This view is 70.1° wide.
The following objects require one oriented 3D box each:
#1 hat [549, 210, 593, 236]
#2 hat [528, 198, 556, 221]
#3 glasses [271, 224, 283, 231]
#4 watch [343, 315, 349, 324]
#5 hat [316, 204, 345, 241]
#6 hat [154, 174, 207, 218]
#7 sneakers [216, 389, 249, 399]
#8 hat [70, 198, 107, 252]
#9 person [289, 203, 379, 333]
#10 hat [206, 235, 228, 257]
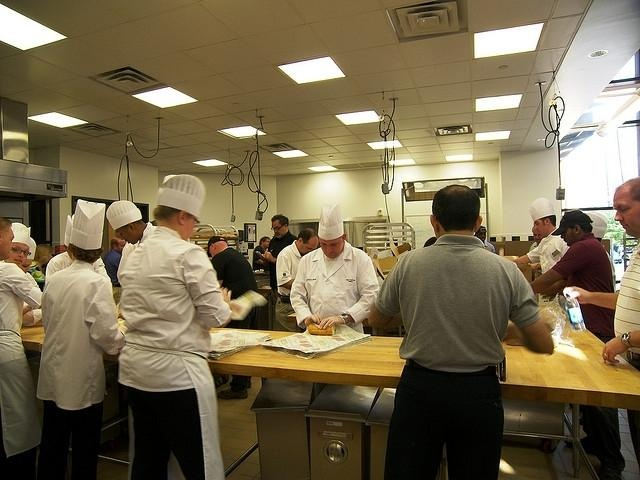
[{"bbox_3d":[2.087,-0.147,3.792,0.174,0.144,0.251,-5,0,-31],"label":"hat"},{"bbox_3d":[2.586,-0.368,5.378,0.234,0.263,0.311,-11,-7,-18],"label":"hat"},{"bbox_3d":[-0.596,-0.183,6.553,0.151,0.050,0.161,-1,-7,18],"label":"glasses"},{"bbox_3d":[0.194,0.594,3.397,0.053,0.054,0.054,-5,-10,-25],"label":"watch"},{"bbox_3d":[0.092,-0.138,3.654,0.192,0.291,0.197,3,2,14],"label":"hat"},{"bbox_3d":[-0.845,-0.257,2.865,0.215,0.239,0.302,15,-7,-5],"label":"hat"},{"bbox_3d":[-0.915,1.633,4.880,0.287,0.128,0.114,4,-10,2],"label":"sneakers"},{"bbox_3d":[-1.569,-0.118,3.148,0.193,0.298,0.209,4,23,-36],"label":"hat"},{"bbox_3d":[0.091,0.358,3.644,0.736,1.245,0.672,-2,1,19],"label":"person"},{"bbox_3d":[-1.130,0.093,5.259,0.209,0.272,0.246,6,8,-32],"label":"hat"}]
